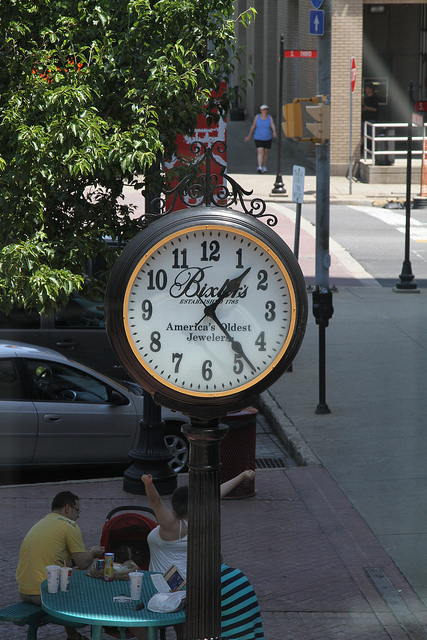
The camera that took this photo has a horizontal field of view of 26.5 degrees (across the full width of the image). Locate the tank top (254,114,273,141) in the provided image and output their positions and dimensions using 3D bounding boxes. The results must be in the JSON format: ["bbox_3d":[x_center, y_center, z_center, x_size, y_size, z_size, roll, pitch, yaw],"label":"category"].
[{"bbox_3d":[1.774,-6.738,31.683,0.598,0.880,0.589,1,9,3],"label":"tank top"}]

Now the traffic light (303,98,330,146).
[{"bbox_3d":[1.401,-2.668,12.121,0.298,0.647,0.576,1,9,4],"label":"traffic light"}]

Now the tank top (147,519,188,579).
[{"bbox_3d":[-0.253,1.228,4.962,0.208,0.317,0.242,3,-1,-2],"label":"tank top"}]

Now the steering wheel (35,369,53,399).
[{"bbox_3d":[-1.646,0.618,8.707,0.096,0.274,0.285,0,3,8],"label":"steering wheel"}]

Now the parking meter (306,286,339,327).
[{"bbox_3d":[1.313,-0.153,10.796,0.241,0.497,0.374,2,9,6],"label":"parking meter"}]

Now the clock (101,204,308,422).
[{"bbox_3d":[-0.021,-0.022,2.871,0.629,0.667,0.293,1,9,5],"label":"clock"}]

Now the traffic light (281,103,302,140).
[{"bbox_3d":[1.028,-2.573,11.664,0.254,0.476,0.629,1,9,5],"label":"traffic light"}]
